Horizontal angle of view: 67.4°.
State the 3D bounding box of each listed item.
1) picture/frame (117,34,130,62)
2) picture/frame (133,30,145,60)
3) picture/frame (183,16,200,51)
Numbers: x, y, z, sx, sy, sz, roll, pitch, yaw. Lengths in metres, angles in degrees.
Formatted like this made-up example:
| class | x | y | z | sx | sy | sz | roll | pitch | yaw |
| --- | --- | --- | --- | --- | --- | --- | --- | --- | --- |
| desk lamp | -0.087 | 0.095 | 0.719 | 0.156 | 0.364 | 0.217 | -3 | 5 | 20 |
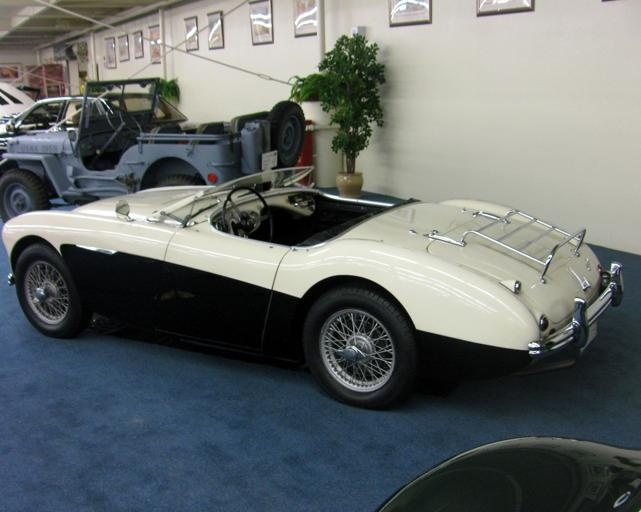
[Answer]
| class | x | y | z | sx | sy | sz | roll | pitch | yaw |
| --- | --- | --- | --- | --- | --- | --- | --- | --- | --- |
| picture/frame | -6.513 | -6.924 | 15.883 | 0.072 | 1.010 | 0.858 | -3 | 11 | -44 |
| picture/frame | -5.667 | -6.628 | 14.985 | 0.818 | 1.034 | 0.096 | 10 | 12 | 43 |
| picture/frame | -3.371 | -5.851 | 12.556 | 0.074 | 1.057 | 0.831 | -7 | 12 | -43 |
